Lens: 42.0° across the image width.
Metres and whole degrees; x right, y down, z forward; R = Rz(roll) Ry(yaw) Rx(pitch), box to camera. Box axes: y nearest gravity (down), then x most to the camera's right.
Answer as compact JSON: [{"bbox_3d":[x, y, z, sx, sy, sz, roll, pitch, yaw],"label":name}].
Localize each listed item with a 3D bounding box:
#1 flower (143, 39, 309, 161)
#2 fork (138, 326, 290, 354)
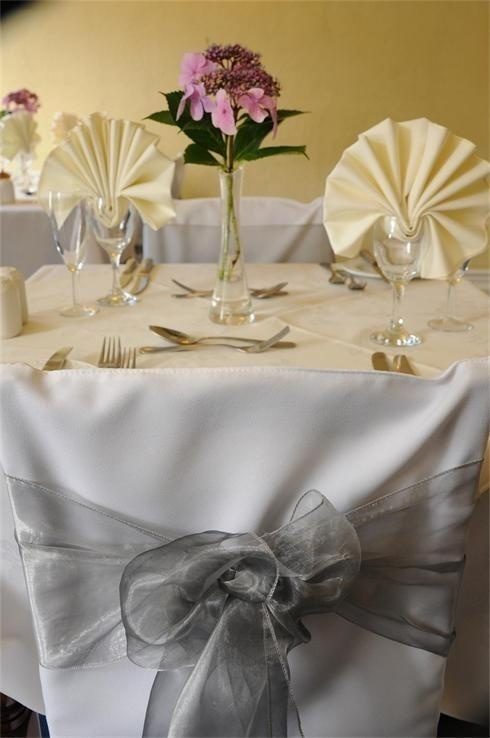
[{"bbox_3d":[-0.043,-0.400,1.054,0.248,0.178,0.247,6,22,21],"label":"flower"},{"bbox_3d":[-0.050,-0.043,0.983,0.215,0.036,0.031,2,30,1],"label":"fork"}]
